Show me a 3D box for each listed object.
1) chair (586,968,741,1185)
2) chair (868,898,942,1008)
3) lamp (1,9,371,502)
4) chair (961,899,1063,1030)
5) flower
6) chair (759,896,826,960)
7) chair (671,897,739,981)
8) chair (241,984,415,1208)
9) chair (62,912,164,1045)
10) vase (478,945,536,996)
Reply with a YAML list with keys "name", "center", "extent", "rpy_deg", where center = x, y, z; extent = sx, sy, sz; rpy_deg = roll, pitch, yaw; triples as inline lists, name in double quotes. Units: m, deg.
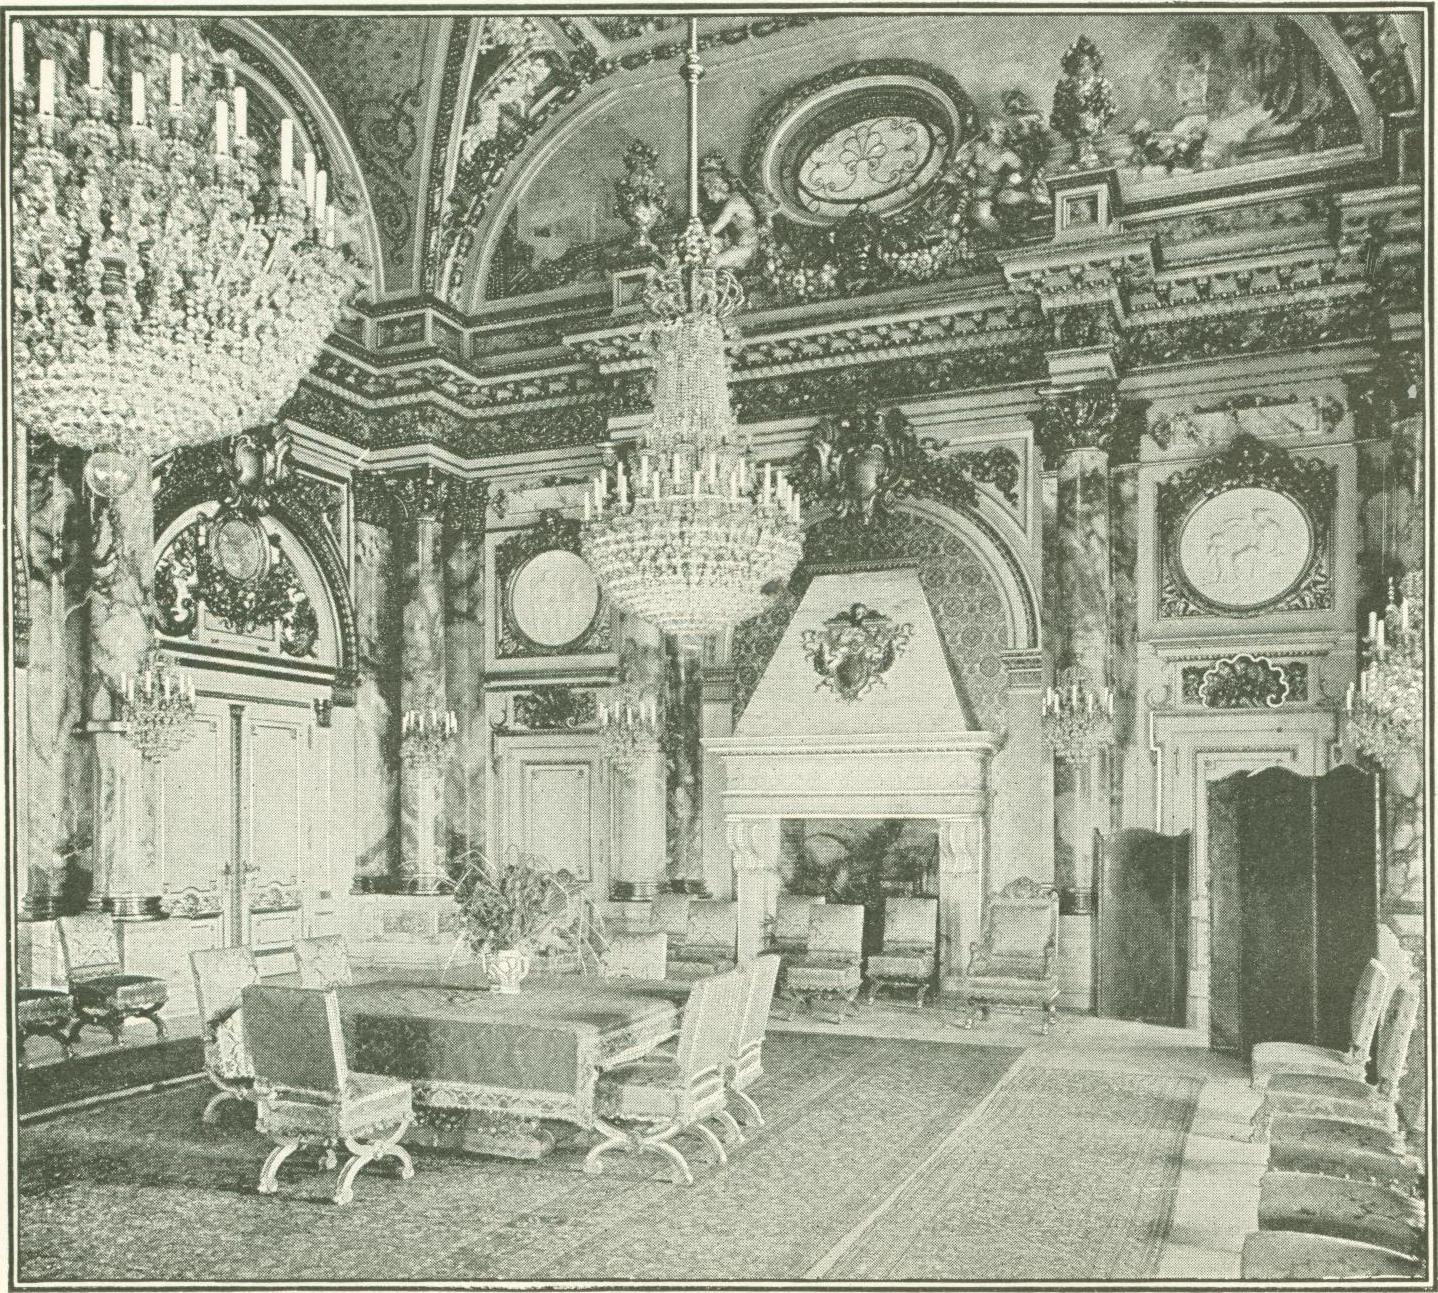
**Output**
- name: "chair"
  center: [-0.189, 2.170, 8.805]
  extent: [0.831, 1.303, 0.945]
  rpy_deg: [-1, -9, 14]
- name: "chair"
  center: [1.446, 2.332, 12.734]
  extent: [0.540, 1.056, 0.559]
  rpy_deg: [-2, -18, 20]
- name: "lamp"
  center: [-2.305, -1.647, 7.102]
  extent: [1.298, 1.705, 0.700]
  rpy_deg: [-1, 3, -25]
- name: "chair"
  center: [2.117, 2.246, 11.978]
  extent: [0.643, 0.869, 0.869]
  rpy_deg: [1, 2, 13]
- name: "flower"
  center: [-0.994, 1.641, 9.917]
  extent: [1.102, 0.515, 1.097]
  rpy_deg: [9, -7, -37]
- name: "chair"
  center: [0.572, 2.167, 13.146]
  extent: [0.477, 0.542, 0.407]
  rpy_deg: [3, 4, 26]
- name: "chair"
  center: [-0.152, 2.308, 12.981]
  extent: [0.593, 0.725, 0.618]
  rpy_deg: [1, 0, 9]
- name: "chair"
  center: [-1.969, 2.217, 8.490]
  extent: [0.807, 1.378, 0.944]
  rpy_deg: [-3, -6, 32]
- name: "chair"
  center: [-4.088, 2.237, 11.226]
  extent: [0.651, 0.887, 1.000]
  rpy_deg: [-1, 2, -23]
- name: "vase"
  center: [-1.193, 1.806, 9.392]
  extent: [0.251, 0.232, 0.258]
  rpy_deg: [-4, -10, 19]
